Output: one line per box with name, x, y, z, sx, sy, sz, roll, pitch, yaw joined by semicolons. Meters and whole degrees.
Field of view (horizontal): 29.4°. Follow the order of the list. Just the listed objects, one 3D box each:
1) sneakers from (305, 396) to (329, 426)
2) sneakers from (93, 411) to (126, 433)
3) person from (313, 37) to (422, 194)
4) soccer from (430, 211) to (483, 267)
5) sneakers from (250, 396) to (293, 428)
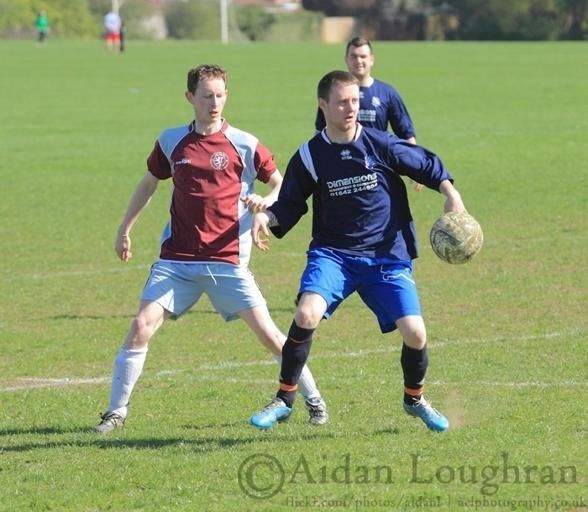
sneakers;0.205;1.315;9.384;0.107;0.140;0.308;-3;4;-4
sneakers;-1.531;1.403;9.325;0.114;0.138;0.256;0;-4;26
person;0.799;-1.458;12.055;1.091;1.799;0.568;-1;23;11
soccer;1.337;-0.163;9.168;0.407;0.448;0.228;0;22;7
sneakers;-0.167;1.272;9.228;0.161;0.226;0.430;44;26;18
